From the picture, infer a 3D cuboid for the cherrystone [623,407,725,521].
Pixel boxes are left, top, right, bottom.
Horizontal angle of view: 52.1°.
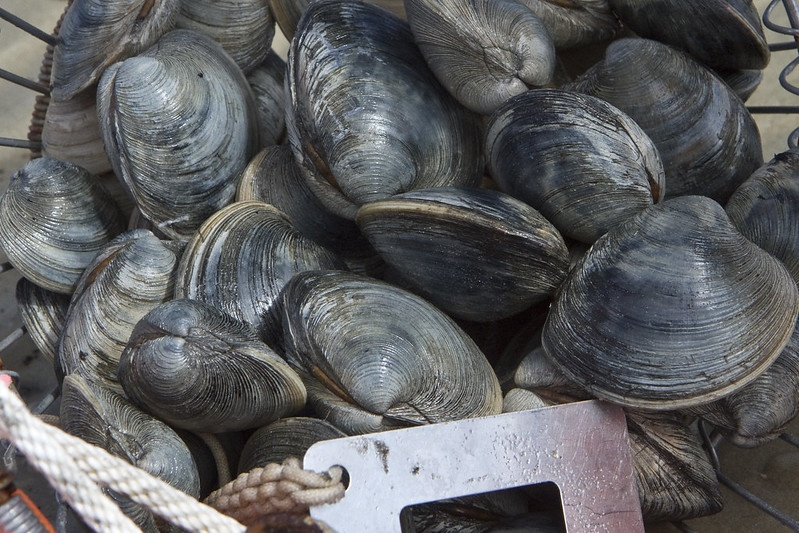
[{"bbox_3d":[0.504,0.378,1.546,0.176,0.212,0.073,-3,-16,-20],"label":"cherrystone"}]
